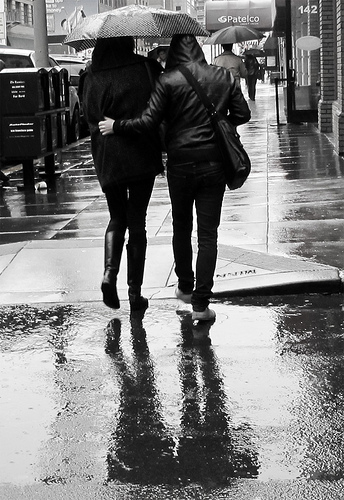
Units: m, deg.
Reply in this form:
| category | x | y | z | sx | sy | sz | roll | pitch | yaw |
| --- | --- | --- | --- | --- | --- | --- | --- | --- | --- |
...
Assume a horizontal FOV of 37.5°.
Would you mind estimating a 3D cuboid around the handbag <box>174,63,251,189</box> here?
| category | x | y | z | sx | sy | sz | roll | pitch | yaw |
| --- | --- | --- | --- | --- | --- | --- | --- | --- | --- |
| handbag | 0.281 | -0.862 | 3.480 | 0.494 | 0.856 | 0.212 | -3 | 6 | -2 |

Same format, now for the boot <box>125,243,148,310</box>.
| category | x | y | z | sx | sy | sz | roll | pitch | yaw |
| --- | --- | --- | --- | --- | --- | --- | --- | --- | --- |
| boot | -0.268 | 0.204 | 3.952 | 0.157 | 0.539 | 0.173 | -3 | 6 | -5 |
